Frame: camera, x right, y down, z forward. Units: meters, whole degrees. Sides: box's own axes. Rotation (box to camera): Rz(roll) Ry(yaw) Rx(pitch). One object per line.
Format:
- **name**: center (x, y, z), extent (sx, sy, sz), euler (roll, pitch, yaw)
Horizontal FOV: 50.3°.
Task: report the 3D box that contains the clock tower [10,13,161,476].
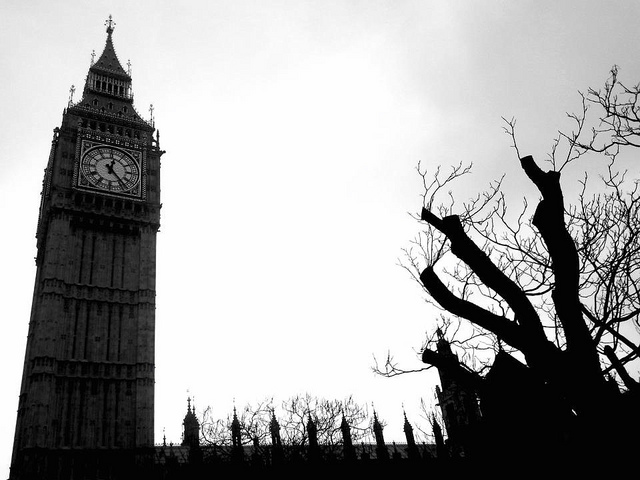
- **clock tower**: center (-18.053, -2.335, 56.350), extent (8.986, 44.499, 11.137), euler (9, -32, -26)
